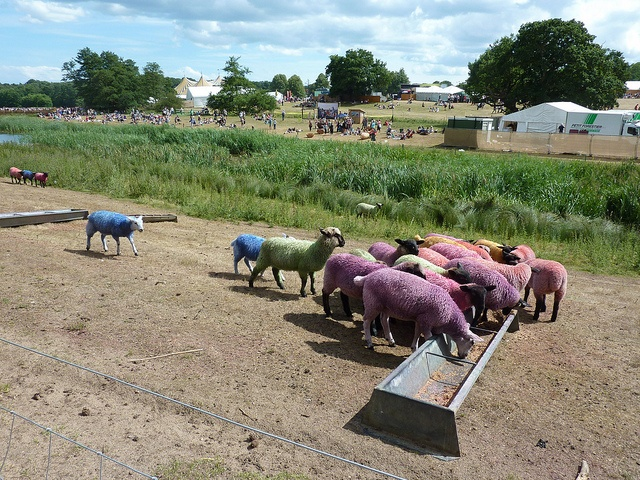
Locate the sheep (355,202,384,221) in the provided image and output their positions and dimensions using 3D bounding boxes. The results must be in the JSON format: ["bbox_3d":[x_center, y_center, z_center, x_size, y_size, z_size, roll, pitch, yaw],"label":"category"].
[{"bbox_3d":[1.695,-1.024,21.526,1.285,0.803,0.364,4,24,3],"label":"sheep"}]

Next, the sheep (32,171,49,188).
[{"bbox_3d":[-11.228,-2.462,24.445,0.461,0.576,0.989,-3,15,-26],"label":"sheep"}]

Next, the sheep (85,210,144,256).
[{"bbox_3d":[-5.232,-0.152,15.420,1.538,1.019,0.450,7,14,13],"label":"sheep"}]

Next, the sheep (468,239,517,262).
[{"bbox_3d":[4.312,0.346,14.329,0.386,0.512,0.952,-7,17,-25],"label":"sheep"}]

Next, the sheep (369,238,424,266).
[{"bbox_3d":[1.739,0.269,13.767,0.528,0.675,1.146,-5,8,-36],"label":"sheep"}]

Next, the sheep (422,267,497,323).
[{"bbox_3d":[2.816,1.101,11.905,0.600,0.805,1.571,3,20,-34],"label":"sheep"}]
